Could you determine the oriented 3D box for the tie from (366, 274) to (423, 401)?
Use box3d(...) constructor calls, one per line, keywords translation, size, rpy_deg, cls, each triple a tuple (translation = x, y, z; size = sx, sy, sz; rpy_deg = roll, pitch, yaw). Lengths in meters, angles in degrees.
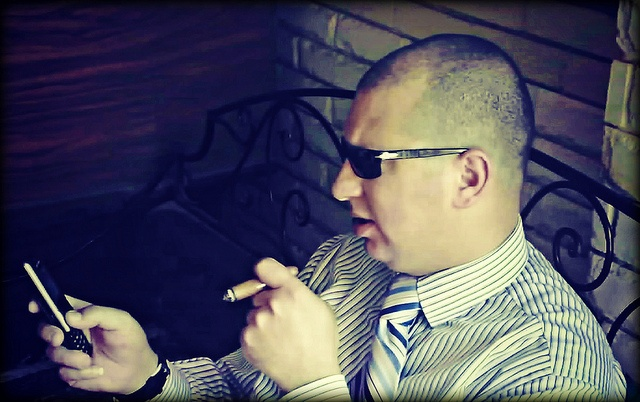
box3d(translation=(0.306, 0.576, 2.554), size=(0.161, 0.154, 0.579), rpy_deg=(14, 74, 13), cls="tie")
